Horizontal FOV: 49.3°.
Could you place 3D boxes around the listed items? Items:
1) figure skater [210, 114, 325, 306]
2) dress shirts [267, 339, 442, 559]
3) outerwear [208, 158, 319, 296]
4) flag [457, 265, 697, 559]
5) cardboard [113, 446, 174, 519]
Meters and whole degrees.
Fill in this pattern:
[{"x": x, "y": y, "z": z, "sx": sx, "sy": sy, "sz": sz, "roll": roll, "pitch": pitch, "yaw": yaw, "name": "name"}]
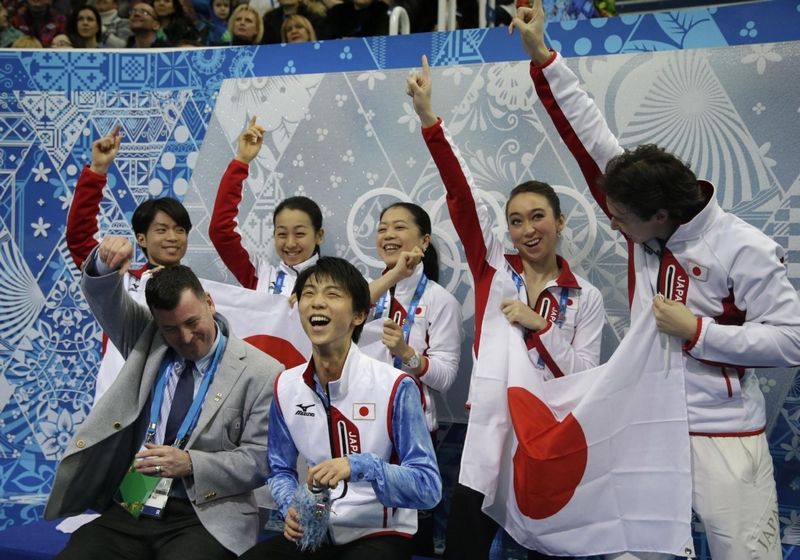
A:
[{"x": -0.883, "y": -0.439, "z": 5.591, "sx": 0.834, "sy": 1.185, "sz": 0.464, "roll": 4, "pitch": 8, "yaw": -5, "name": "figure skater"}, {"x": -0.272, "y": 0.882, "z": 4.637, "sx": 1.136, "sy": 1.038, "sz": 0.681, "roll": -6, "pitch": -5, "yaw": 36, "name": "dress shirts"}, {"x": -1.046, "y": -0.391, "z": 6.190, "sx": 0.874, "sy": 0.888, "sz": 0.339, "roll": 20, "pitch": -1, "yaw": -11, "name": "outerwear"}, {"x": 1.024, "y": 0.780, "z": 4.938, "sx": 1.699, "sy": 1.961, "sz": 0.266, "roll": 2, "pitch": 3, "yaw": 10, "name": "flag"}, {"x": -1.387, "y": 1.126, "z": 4.717, "sx": 0.271, "sy": 0.279, "sz": 0.067, "roll": 29, "pitch": -1, "yaw": 14, "name": "cardboard"}]
